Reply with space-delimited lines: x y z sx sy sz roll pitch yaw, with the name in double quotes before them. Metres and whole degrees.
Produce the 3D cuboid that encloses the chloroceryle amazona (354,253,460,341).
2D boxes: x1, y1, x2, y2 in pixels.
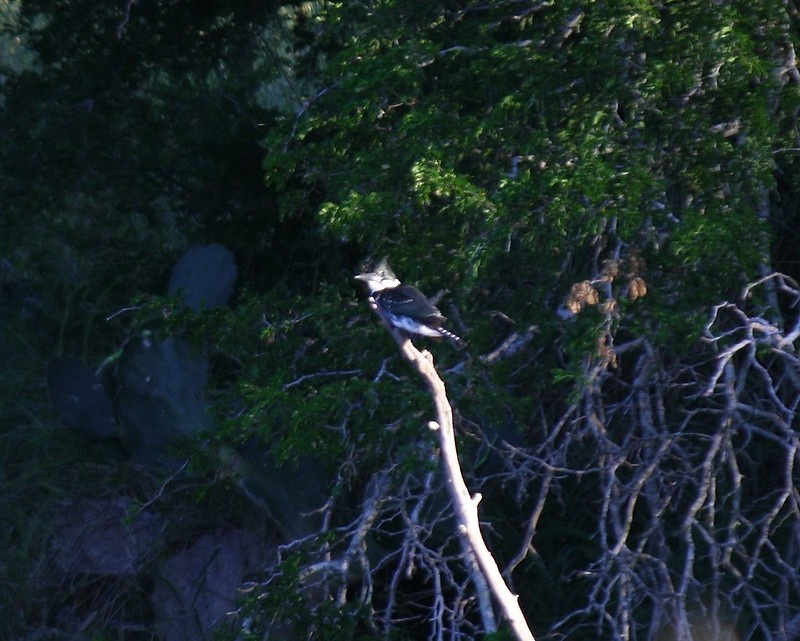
"chloroceryle amazona" 0.077 -0.143 18.300 1.184 0.539 0.411 14 8 40
